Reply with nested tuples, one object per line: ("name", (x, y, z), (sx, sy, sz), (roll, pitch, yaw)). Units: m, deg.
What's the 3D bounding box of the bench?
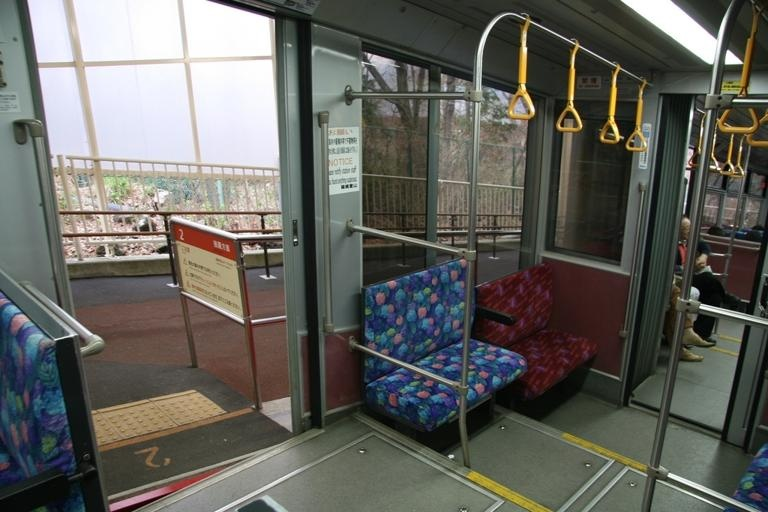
("bench", (0.811, 0.933, 4.890), (0.594, 0.875, 1.661), (11, 19, 41))
